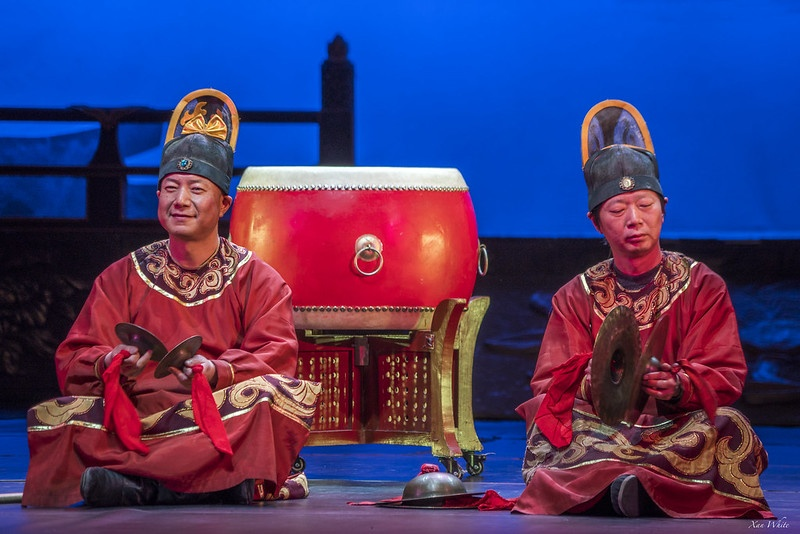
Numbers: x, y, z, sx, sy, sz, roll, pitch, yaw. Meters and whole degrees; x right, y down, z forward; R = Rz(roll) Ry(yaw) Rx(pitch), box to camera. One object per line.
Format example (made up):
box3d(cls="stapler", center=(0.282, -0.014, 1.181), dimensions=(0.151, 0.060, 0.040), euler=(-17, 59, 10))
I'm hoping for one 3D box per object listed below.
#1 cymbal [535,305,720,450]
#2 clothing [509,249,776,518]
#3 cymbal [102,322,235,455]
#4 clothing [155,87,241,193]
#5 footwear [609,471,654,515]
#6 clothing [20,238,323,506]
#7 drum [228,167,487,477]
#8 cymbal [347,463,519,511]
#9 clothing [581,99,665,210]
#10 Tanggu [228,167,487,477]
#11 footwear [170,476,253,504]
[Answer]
box3d(cls="cymbal", center=(0.685, 0.387, 4.116), dimensions=(0.467, 0.492, 0.271), euler=(-2, -2, 5))
box3d(cls="clothing", center=(0.861, 0.381, 4.298), dimensions=(0.938, 0.861, 0.801), euler=(-3, 9, 35))
box3d(cls="cymbal", center=(-0.805, 0.428, 4.130), dimensions=(0.442, 0.467, 0.203), euler=(-1, -2, -4))
box3d(cls="clothing", center=(-0.751, -0.471, 4.624), dimensions=(0.289, 0.419, 0.462), euler=(11, 14, 4))
box3d(cls="footwear", center=(0.754, 0.766, 3.989), dimensions=(0.123, 0.142, 0.059), euler=(-4, 7, 12))
box3d(cls="clothing", center=(-0.796, 0.346, 4.386), dimensions=(1.080, 0.881, 0.566), euler=(-4, 5, 17))
box3d(cls="drum", center=(-0.071, 0.280, 5.227), dimensions=(1.308, 1.228, 1.213), euler=(7, -7, -13))
box3d(cls="cymbal", center=(0.108, 0.787, 4.261), dimensions=(0.580, 0.133, 0.247), euler=(-1, -2, 4))
box3d(cls="clothing", center=(0.811, -0.425, 4.433), dimensions=(0.296, 0.427, 0.229), euler=(-7, -16, 9))
box3d(cls="Tanggu", center=(-0.427, 0.195, 5.309), dimensions=(1.372, 1.389, 1.258), euler=(-1, 2, -15))
box3d(cls="footwear", center=(-0.643, 0.789, 4.169), dimensions=(0.260, 0.084, 0.024), euler=(-1, -2, -9))
